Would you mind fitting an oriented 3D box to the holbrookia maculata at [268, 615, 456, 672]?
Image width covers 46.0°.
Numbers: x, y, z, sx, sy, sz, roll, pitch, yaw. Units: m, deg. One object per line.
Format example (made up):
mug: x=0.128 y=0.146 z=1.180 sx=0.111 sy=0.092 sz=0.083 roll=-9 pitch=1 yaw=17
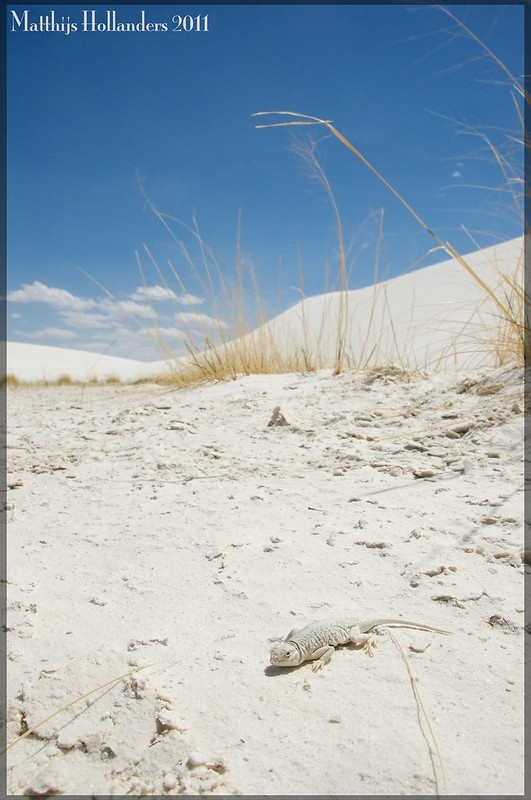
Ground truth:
holbrookia maculata: x=0.213 y=0.677 z=1.791 sx=0.376 sy=0.074 sz=0.193 roll=-5 pitch=-16 yaw=-34
